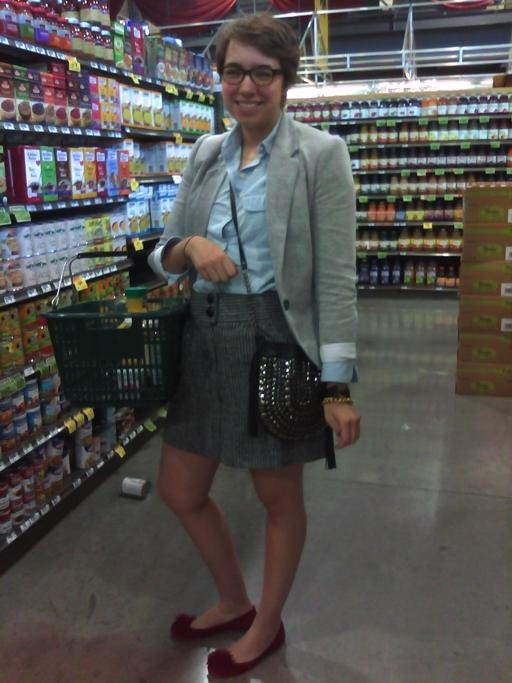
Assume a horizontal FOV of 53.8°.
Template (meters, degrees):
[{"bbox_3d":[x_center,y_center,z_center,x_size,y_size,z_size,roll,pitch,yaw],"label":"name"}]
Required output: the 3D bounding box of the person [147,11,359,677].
[{"bbox_3d":[-0.009,0.125,1.153,0.351,1.492,0.538,-5,6,-31],"label":"person"}]

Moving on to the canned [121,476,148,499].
[{"bbox_3d":[-0.594,0.704,2.433,0.139,0.093,0.094,-2,-13,41],"label":"canned"}]

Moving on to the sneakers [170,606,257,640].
[{"bbox_3d":[-0.126,0.806,1.501,0.239,0.100,0.098,1,-1,-4],"label":"sneakers"}]

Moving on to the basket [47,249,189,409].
[{"bbox_3d":[-0.222,-0.052,1.215,0.415,0.423,0.302,-1,17,-1],"label":"basket"}]

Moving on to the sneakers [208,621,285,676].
[{"bbox_3d":[-0.026,0.796,1.329,0.184,0.074,0.078,-1,15,-40],"label":"sneakers"}]
